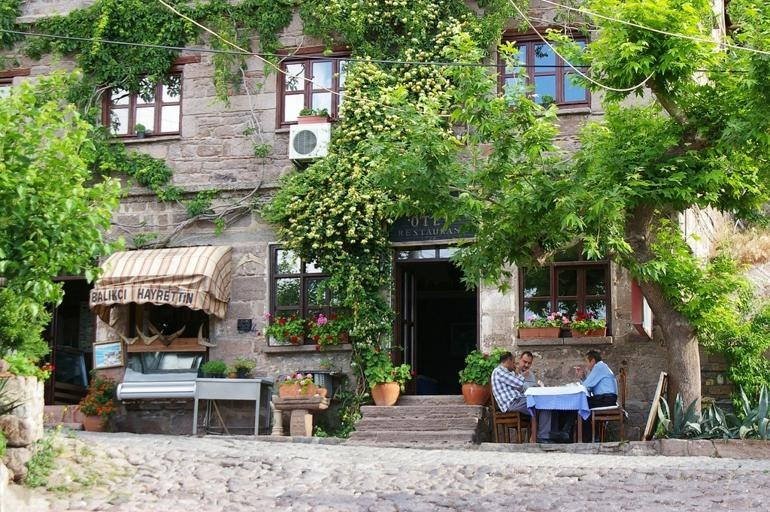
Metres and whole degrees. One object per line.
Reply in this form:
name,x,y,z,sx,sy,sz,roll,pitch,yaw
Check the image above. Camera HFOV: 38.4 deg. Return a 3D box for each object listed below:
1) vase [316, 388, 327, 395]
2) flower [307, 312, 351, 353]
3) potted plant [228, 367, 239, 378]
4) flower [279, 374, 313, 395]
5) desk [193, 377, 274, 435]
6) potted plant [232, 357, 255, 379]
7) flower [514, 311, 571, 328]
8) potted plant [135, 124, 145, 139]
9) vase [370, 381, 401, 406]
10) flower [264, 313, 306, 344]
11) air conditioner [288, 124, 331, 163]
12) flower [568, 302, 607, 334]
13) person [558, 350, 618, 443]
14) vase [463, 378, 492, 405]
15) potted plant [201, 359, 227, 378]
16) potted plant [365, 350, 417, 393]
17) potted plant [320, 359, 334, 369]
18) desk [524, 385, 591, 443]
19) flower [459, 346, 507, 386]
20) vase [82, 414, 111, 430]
vase,-1.090,2.337,19.185,0.127,0.088,0.123,9,-15,-39
flower,-0.993,1.340,19.753,0.724,0.487,0.658,0,-6,1
potted plant,-2.744,2.080,19.867,0.172,0.111,0.163,2,-19,-5
flower,-1.501,2.199,19.125,0.439,0.246,0.418,0,-6,3
desk,-2.692,2.752,19.374,1.502,1.038,1.042,1,-12,1
potted plant,-2.560,2.023,19.997,0.396,0.336,0.305,8,-22,-4
flower,2.775,1.084,19.150,0.870,0.282,0.345,3,9,13
potted plant,-4.689,-2.393,21.152,0.207,0.271,0.159,1,9,-4
vase,0.012,2.387,19.314,0.446,0.299,0.426,5,-5,-29
flower,-1.742,1.313,19.931,0.645,0.405,0.538,1,-8,4
air conditioner,-1.353,-2.064,20.177,0.773,0.612,0.286,-3,-19,16
flower,3.471,1.051,18.918,0.531,0.358,0.441,1,0,8
person,3.251,2.258,17.478,1.149,1.549,0.632,-2,-41,19
vase,1.558,2.321,19.059,0.430,0.277,0.408,4,-15,-13
potted plant,-3.076,2.004,19.810,0.329,0.220,0.327,-8,-10,30
potted plant,0.073,1.971,19.471,0.755,0.516,0.804,3,-2,2
potted plant,-1.036,1.915,19.675,0.222,0.172,0.357,4,8,13
desk,2.722,2.316,17.351,1.146,0.667,1.108,-1,1,28
flower,1.607,1.925,19.178,0.753,0.484,0.638,-12,2,-16
vase,-5.273,2.983,19.977,0.466,0.277,0.291,2,9,1
